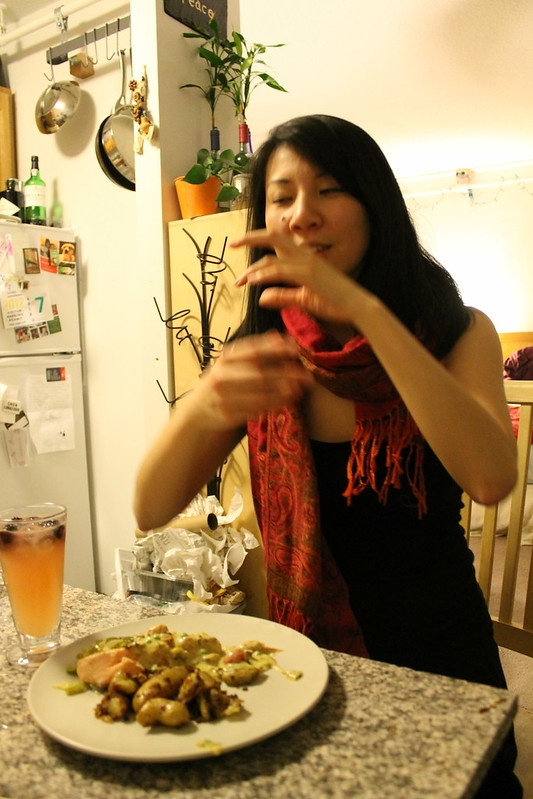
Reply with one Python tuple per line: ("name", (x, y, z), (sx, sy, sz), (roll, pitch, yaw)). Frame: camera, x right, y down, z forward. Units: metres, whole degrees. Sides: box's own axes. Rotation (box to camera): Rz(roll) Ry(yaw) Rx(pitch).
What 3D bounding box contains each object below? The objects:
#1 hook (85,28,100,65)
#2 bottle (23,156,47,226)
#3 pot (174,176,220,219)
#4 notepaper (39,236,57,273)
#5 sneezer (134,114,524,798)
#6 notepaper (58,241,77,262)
("hook", (-0.700, -1.425, 2.474), (0.043, 0.129, 0.105), (-5, 12, -14))
("bottle", (-0.993, -0.886, 2.616), (0.101, 0.297, 0.311), (-6, 12, -18))
("pot", (-0.207, -0.615, 1.865), (0.148, 0.105, 0.141), (-1, 6, 0))
("notepaper", (-0.890, -0.591, 2.510), (0.018, 0.141, 0.088), (5, 14, 31))
("sneezer", (0.146, 0.065, 1.040), (0.653, 0.998, 0.438), (5, 4, 18))
("notepaper", (-0.836, -0.624, 2.567), (0.078, 0.078, 0.019), (-5, 18, -41))
